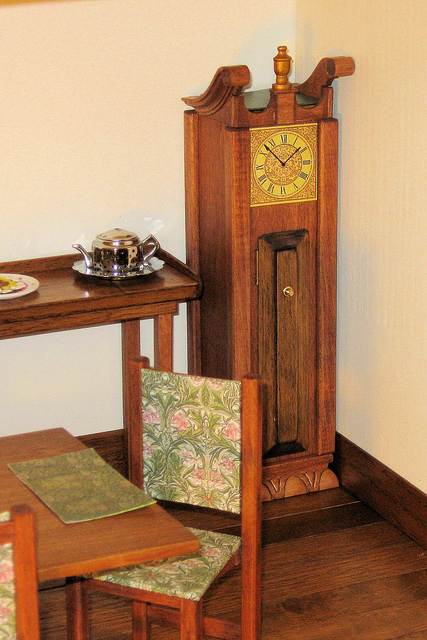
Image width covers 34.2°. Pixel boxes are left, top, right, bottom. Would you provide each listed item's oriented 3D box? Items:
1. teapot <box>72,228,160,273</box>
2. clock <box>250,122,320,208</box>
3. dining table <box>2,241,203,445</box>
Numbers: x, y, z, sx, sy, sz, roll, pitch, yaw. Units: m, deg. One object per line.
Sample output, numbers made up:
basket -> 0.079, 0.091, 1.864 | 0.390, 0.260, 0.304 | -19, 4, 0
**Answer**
teapot -> -0.357, -0.266, 2.542 | 0.305, 0.131, 0.164 | -2, 19, -10
clock -> 0.242, -0.556, 2.445 | 0.325, 0.278, 0.018 | -8, 17, -26
dining table -> -0.416, 0.053, 2.438 | 0.815, 0.703, 0.329 | -9, 27, -20
